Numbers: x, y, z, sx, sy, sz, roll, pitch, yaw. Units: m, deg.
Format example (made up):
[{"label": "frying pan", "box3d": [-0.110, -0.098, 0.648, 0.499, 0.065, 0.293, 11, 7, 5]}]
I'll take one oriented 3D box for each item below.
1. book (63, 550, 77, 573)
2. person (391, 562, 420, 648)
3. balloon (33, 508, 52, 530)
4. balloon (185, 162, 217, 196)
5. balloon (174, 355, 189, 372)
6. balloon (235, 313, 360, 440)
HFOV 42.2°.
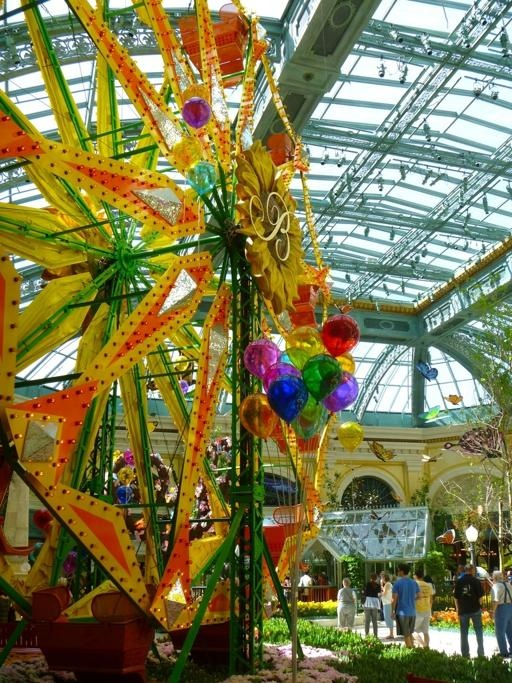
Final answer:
[{"label": "book", "box3d": [-3.114, 3.711, 11.088, 0.188, 0.371, 0.859, 9, -21, -13]}, {"label": "person", "box3d": [2.004, 3.564, 8.905, 0.338, 1.028, 0.984, -1, -21, 13]}, {"label": "balloon", "box3d": [-3.341, 2.801, 10.361, 0.230, 0.324, 0.801, 11, -21, -17]}, {"label": "balloon", "box3d": [-0.459, -1.500, 6.091, 0.288, 0.307, 0.292, 0, -6, 4]}, {"label": "balloon", "box3d": [-1.676, 0.518, 14.960, 0.242, 0.378, 0.317, 24, -43, -27]}, {"label": "balloon", "box3d": [0.465, 0.312, 6.061, 1.087, 1.313, 1.169, 7, -21, -8]}]
